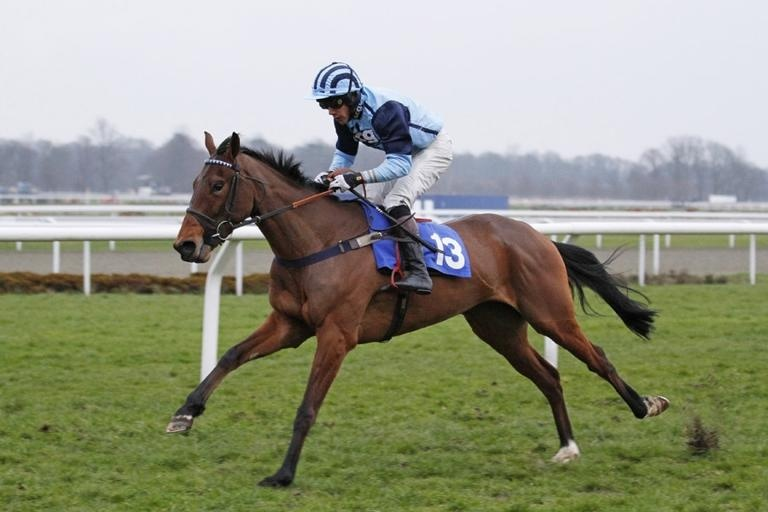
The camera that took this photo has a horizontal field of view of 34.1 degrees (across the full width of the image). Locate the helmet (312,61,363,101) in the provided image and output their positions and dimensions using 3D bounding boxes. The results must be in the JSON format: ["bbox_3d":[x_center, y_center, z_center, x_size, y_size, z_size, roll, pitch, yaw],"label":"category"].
[{"bbox_3d":[-0.265,-1.016,7.241,0.296,0.218,0.192,-1,0,-3],"label":"helmet"}]

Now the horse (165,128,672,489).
[{"bbox_3d":[0.246,0.354,7.754,3.666,1.781,0.726,3,-8,-37],"label":"horse"}]

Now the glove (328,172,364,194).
[{"bbox_3d":[-0.218,-0.427,7.311,0.195,0.066,0.094,-8,33,20],"label":"glove"}]
